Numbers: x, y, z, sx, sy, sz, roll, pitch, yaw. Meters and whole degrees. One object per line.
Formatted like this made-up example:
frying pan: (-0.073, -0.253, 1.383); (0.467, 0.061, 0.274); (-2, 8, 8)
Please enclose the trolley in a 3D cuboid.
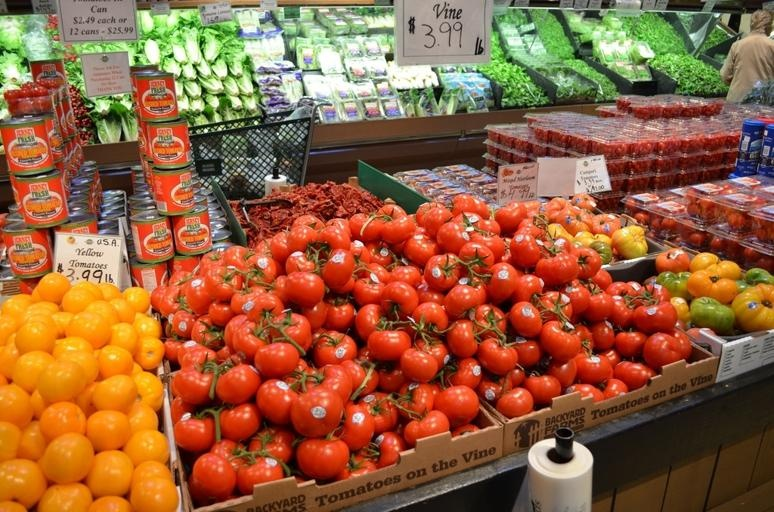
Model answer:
trolley: (-1.092, -1.022, 4.377); (1.020, 0.877, 0.644); (-10, 42, -18)
